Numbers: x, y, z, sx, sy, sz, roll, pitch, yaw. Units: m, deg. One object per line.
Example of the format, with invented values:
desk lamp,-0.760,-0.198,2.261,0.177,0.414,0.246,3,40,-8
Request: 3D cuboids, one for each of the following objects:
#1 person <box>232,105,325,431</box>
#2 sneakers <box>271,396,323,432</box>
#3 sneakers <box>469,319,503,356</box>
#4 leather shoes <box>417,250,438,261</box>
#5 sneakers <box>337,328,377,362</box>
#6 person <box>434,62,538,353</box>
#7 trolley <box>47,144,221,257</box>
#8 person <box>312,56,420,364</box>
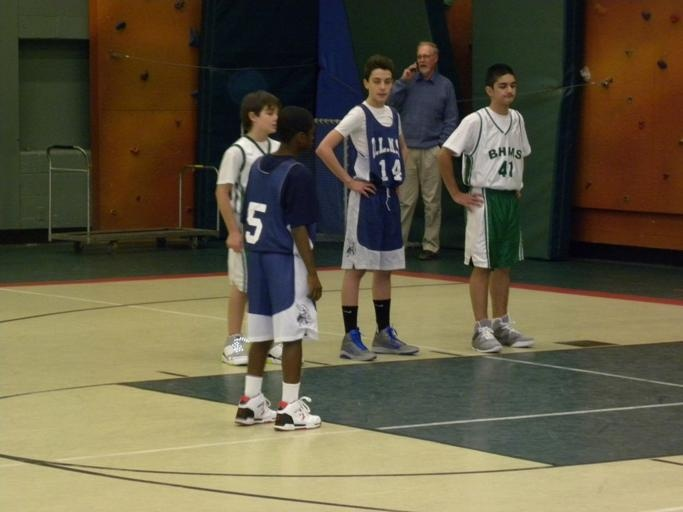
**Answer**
person,-0.318,0.177,3.891,0.427,1.385,0.262,1,6,6
sneakers,-0.225,0.795,3.924,0.301,0.176,0.116,-2,2,-24
sneakers,1.086,0.589,5.745,0.192,0.217,0.219,-1,6,-14
leather shoes,1.170,-0.026,10.531,0.108,0.117,0.293,-4,-7,34
sneakers,0.105,0.623,5.493,0.260,0.208,0.132,3,6,23
person,1.113,-0.383,5.837,0.722,2.137,0.531,0,6,-1
trolley,-3.103,-0.871,11.847,0.996,1.663,2.517,-4,0,38
person,0.204,-0.367,5.604,0.695,2.157,0.550,0,6,-3
